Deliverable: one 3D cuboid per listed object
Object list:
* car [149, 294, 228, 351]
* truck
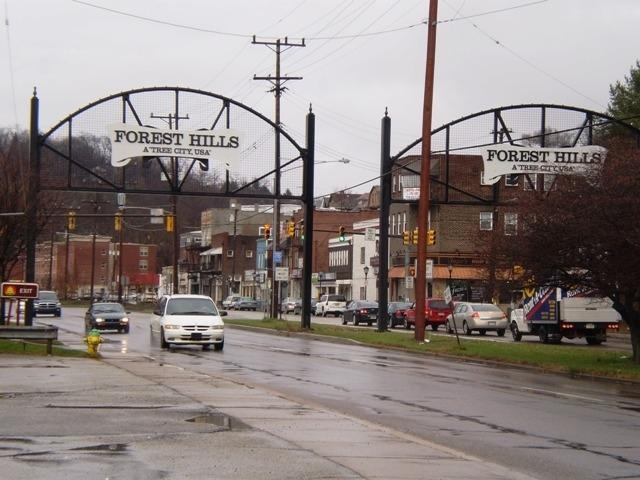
[{"bbox_3d":[-4.799,2.981,39.433,2.313,2.023,3.669,2,-5,-22],"label":"car"},{"bbox_3d":[10.128,3.136,45.393,2.721,3.026,5.510,1,0,-18],"label":"truck"}]
